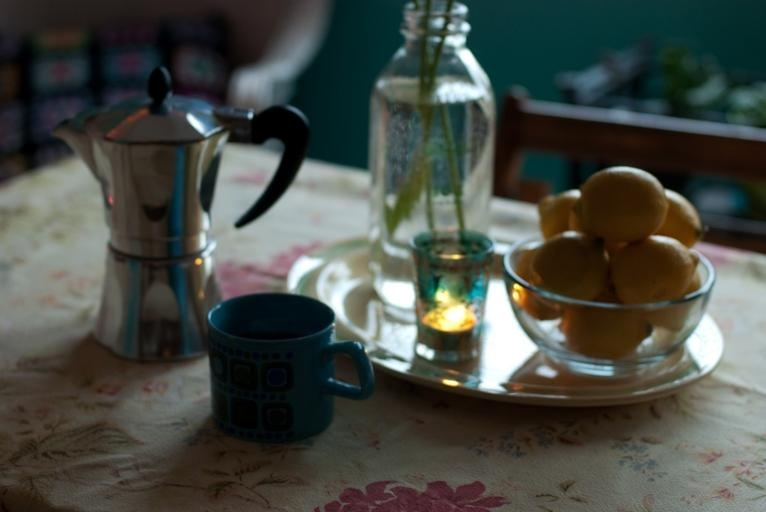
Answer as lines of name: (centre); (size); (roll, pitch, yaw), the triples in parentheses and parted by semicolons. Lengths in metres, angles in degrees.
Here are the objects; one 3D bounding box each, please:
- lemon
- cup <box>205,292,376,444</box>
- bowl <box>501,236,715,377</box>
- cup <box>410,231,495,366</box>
lemon: (0.228, 0.025, 0.786); (0.179, 0.151, 0.199); (-1, -12, 15)
cup: (-0.090, 0.107, 0.722); (0.158, 0.113, 0.117); (15, 23, 29)
bowl: (0.213, 0.047, 0.676); (0.151, 0.073, 0.147); (1, 22, 0)
cup: (0.074, 0.051, 0.816); (0.085, 0.120, 0.083); (1, 11, 0)
